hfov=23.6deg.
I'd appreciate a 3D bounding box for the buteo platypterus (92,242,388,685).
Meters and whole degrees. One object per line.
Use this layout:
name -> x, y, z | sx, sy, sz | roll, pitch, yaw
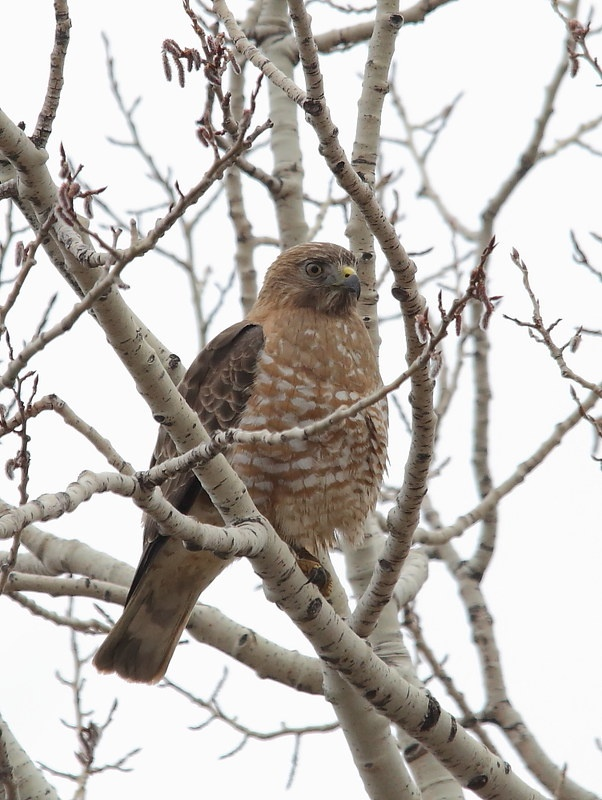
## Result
buteo platypterus -> -0.243, 0.208, 5.565 | 1.012, 1.545, 0.721 | -14, -28, 27
